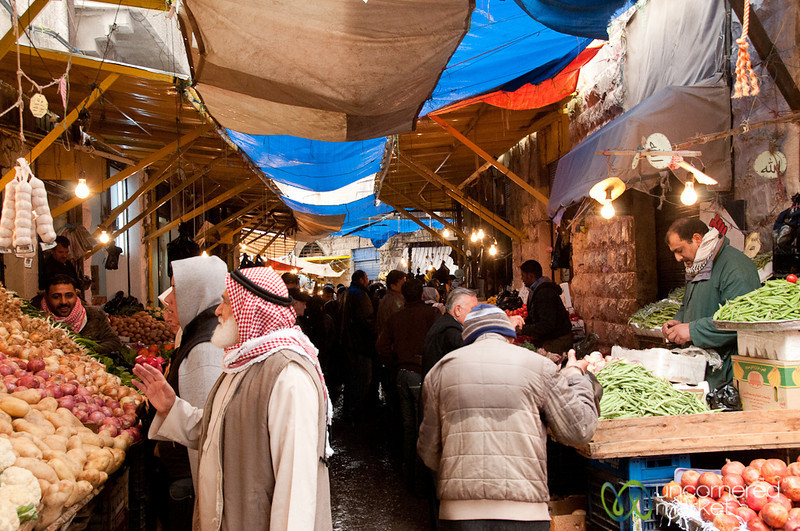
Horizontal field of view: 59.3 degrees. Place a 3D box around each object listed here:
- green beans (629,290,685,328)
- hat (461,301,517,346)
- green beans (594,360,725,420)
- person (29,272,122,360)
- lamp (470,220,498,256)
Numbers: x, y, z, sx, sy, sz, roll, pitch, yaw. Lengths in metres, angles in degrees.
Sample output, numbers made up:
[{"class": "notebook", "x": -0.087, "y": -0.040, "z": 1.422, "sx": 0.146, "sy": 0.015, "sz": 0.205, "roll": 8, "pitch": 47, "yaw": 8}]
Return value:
[{"class": "green beans", "x": 2.931, "y": 0.536, "z": 8.134, "sx": 0.448, "sy": 0.146, "sz": 0.527, "roll": -38, "pitch": 10, "yaw": -26}, {"class": "hat", "x": 0.695, "y": 0.467, "z": 5.605, "sx": 0.433, "sy": 0.308, "sz": 0.398, "roll": -11, "pitch": -5, "yaw": -5}, {"class": "green beans", "x": 1.993, "y": 0.990, "z": 5.691, "sx": 0.793, "sy": 0.438, "sz": 0.570, "roll": -7, "pitch": -7, "yaw": 18}, {"class": "person", "x": -3.681, "y": 0.610, "z": 8.149, "sx": 0.890, "sy": 0.979, "sz": 0.888, "roll": -1, "pitch": -8, "yaw": -27}, {"class": "lamp", "x": 2.082, "y": -0.556, "z": 17.032, "sx": 0.394, "sy": 0.393, "sz": 1.273, "roll": 17, "pitch": 7, "yaw": -15}]
